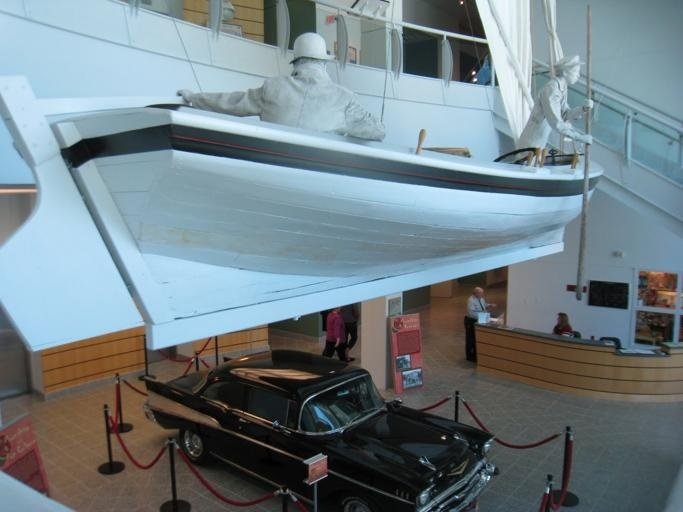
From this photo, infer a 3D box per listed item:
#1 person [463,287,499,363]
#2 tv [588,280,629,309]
[{"bbox_3d":[2.405,1.184,9.323,0.559,1.233,0.533,5,7,33],"label":"person"},{"bbox_3d":[4.433,0.644,8.956,0.724,0.404,0.519,1,-2,25],"label":"tv"}]
